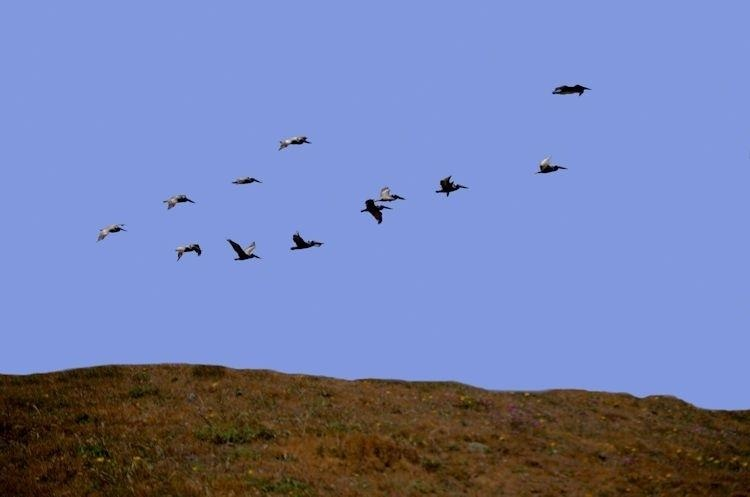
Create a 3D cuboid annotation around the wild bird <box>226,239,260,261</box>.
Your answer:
[{"bbox_3d":[-5.477,0.179,64.563,0.681,0.265,0.972,7,-16,24],"label":"wild bird"}]

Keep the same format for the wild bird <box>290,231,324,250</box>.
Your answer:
[{"bbox_3d":[-2.845,-0.167,62.125,0.710,0.346,0.908,-4,-18,26],"label":"wild bird"}]
